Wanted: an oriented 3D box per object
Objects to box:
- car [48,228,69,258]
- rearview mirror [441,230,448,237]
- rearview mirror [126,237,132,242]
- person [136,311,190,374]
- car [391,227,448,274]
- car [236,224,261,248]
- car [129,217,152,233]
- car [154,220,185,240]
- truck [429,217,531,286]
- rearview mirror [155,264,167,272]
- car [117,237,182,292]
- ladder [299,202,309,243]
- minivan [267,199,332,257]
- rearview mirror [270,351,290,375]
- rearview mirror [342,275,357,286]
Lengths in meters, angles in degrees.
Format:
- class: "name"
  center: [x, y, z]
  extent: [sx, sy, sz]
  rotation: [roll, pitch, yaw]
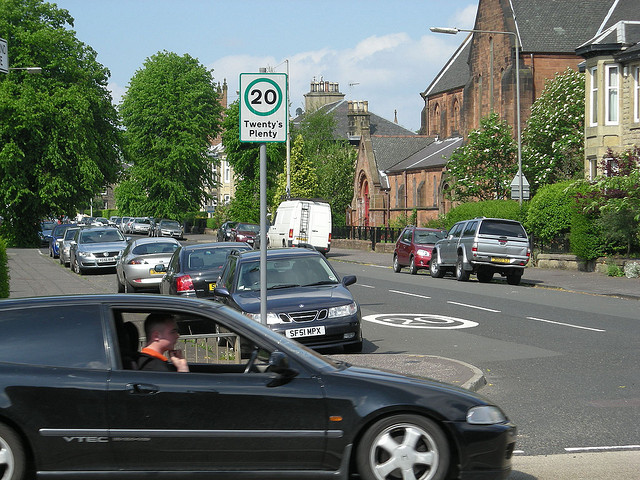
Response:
- class: "car"
  center: [-11.401, 0.107, 43.612]
  extent: [1.081, 0.809, 1.808]
  rotation: [0, 0, -14]
- class: "rearview mirror"
  center: [4.344, -0.239, 35.941]
  extent: [0.212, 0.130, 0.318]
  rotation: [0, -1, 0]
- class: "rearview mirror"
  center: [-9.108, -0.080, 48.194]
  extent: [0.369, 0.169, 0.492]
  rotation: [-1, 3, -17]
- class: "person"
  center: [-1.792, 1.138, 11.445]
  extent: [0.595, 0.652, 0.861]
  rotation: [3, 3, -11]
- class: "car"
  center: [3.453, 0.274, 35.505]
  extent: [1.316, 0.985, 2.049]
  rotation: [1, -3, -20]
- class: "car"
  center: [-3.641, -0.295, 51.783]
  extent: [1.404, 1.099, 2.630]
  rotation: [0, -3, -17]
- class: "car"
  center: [-13.469, -1.182, 76.496]
  extent: [1.235, 0.888, 2.814]
  rotation: [0, -3, -19]
- class: "car"
  center: [-10.186, -0.783, 68.096]
  extent: [1.239, 0.819, 2.651]
  rotation: [1, -3, -17]
- class: "truck"
  center: [4.909, 0.285, 31.277]
  extent: [1.751, 1.250, 2.914]
  rotation: [2, 3, -18]
- class: "rearview mirror"
  center: [-3.678, 0.647, 23.329]
  extent: [0.240, 0.122, 0.241]
  rotation: [0, 1, -39]
- class: "car"
  center: [-4.566, 0.604, 26.282]
  extent: [1.135, 0.770, 2.439]
  rotation: [-2, 5, -14]
- class: "ladder"
  center: [-0.716, -0.757, 42.495]
  extent: [0.336, 1.668, 0.469]
  rotation: [3, 8, 5]
- class: "minivan"
  center: [-1.007, -0.554, 44.659]
  extent: [2.187, 2.128, 4.361]
  rotation: [5, -1, -15]
- class: "rearview mirror"
  center: [-0.447, 1.326, 10.813]
  extent: [0.207, 0.236, 0.132]
  rotation: [1, 8, -8]
- class: "rearview mirror"
  center: [0.479, 0.715, 17.853]
  extent: [0.215, 0.126, 0.472]
  rotation: [2, 7, 0]
